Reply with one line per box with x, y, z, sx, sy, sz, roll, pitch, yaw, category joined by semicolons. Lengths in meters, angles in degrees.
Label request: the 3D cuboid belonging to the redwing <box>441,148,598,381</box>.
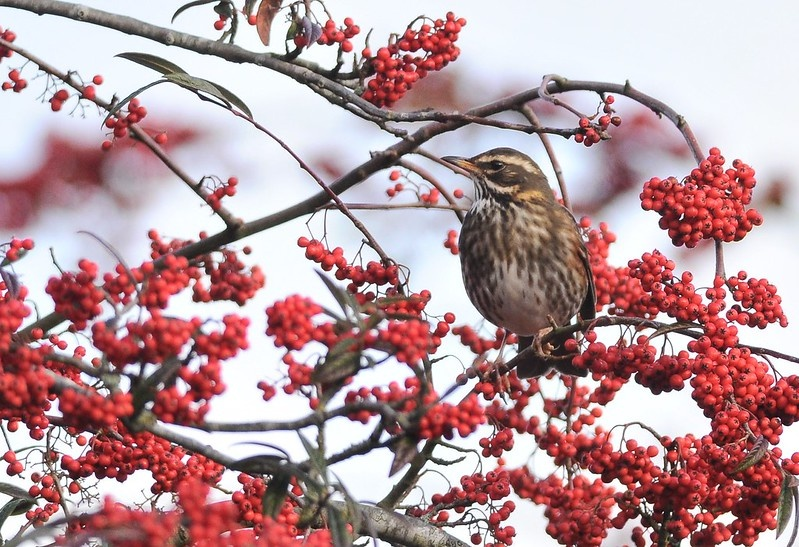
0.749;-0.040;7.062;1.117;1.350;0.704;13;-28;-19;redwing
